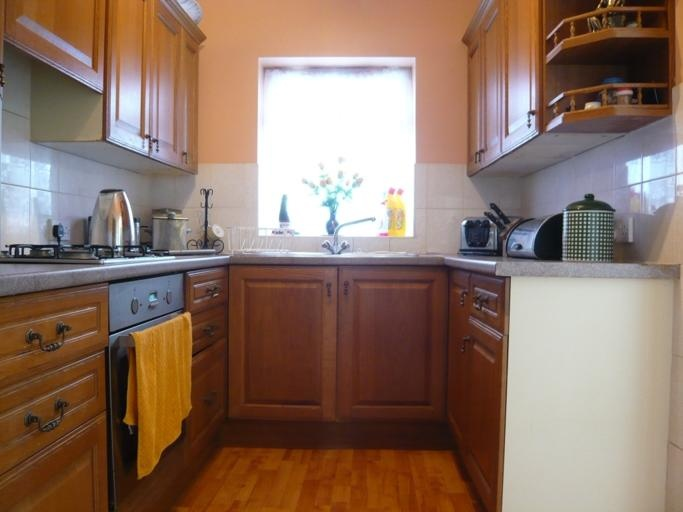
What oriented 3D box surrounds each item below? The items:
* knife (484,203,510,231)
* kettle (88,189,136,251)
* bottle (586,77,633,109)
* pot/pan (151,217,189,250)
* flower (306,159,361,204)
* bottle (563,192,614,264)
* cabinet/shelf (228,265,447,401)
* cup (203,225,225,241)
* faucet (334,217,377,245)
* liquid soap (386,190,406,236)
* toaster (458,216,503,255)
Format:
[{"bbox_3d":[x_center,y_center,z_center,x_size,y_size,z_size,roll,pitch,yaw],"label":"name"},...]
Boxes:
[{"bbox_3d":[0.965,-0.238,3.324,0.029,0.118,0.283,22,-4,44],"label":"knife"},{"bbox_3d":[-1.112,-0.166,2.585,0.222,0.398,0.259,0,-2,-9],"label":"kettle"},{"bbox_3d":[1.210,-0.712,2.464,0.185,0.188,0.137,-2,6,14],"label":"bottle"},{"bbox_3d":[-0.992,-0.113,3.116,0.188,0.218,0.199,1,-5,-7],"label":"pot/pan"},{"bbox_3d":[-0.055,-0.484,3.659,0.292,0.333,0.355,-2,4,2],"label":"flower"},{"bbox_3d":[1.109,-0.129,2.402,0.190,0.306,0.191,0,5,0],"label":"bottle"},{"bbox_3d":[-0.027,0.385,3.336,1.239,0.989,0.702,1,13,0],"label":"cabinet/shelf"},{"bbox_3d":[-0.839,-0.158,3.581,0.108,0.099,0.174,-2,14,-12],"label":"cup"},{"bbox_3d":[0.079,-0.178,3.546,0.258,0.213,0.463,1,14,3],"label":"faucet"},{"bbox_3d":[0.361,-0.291,3.620,0.127,0.315,0.087,1,12,5],"label":"liquid soap"},{"bbox_3d":[0.866,-0.112,3.333,0.198,0.215,0.219,0,-4,4],"label":"toaster"}]
